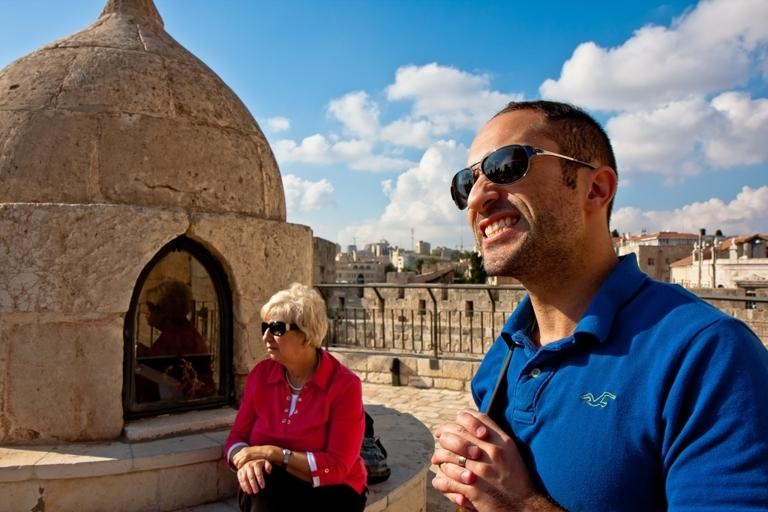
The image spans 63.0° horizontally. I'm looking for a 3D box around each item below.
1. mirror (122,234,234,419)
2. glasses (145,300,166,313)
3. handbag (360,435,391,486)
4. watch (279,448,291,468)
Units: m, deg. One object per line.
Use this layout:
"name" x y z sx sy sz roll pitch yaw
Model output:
"mirror" -1.780 0.629 5.375 0.972 1.477 0.380 -7 -4 -23
"glasses" -1.964 0.445 5.383 0.035 0.119 0.175 -11 -5 33
"handbag" -0.072 1.680 5.142 0.316 0.309 0.331 -3 -8 -10
"watch" -0.674 1.407 4.325 0.061 0.091 0.094 6 7 12
